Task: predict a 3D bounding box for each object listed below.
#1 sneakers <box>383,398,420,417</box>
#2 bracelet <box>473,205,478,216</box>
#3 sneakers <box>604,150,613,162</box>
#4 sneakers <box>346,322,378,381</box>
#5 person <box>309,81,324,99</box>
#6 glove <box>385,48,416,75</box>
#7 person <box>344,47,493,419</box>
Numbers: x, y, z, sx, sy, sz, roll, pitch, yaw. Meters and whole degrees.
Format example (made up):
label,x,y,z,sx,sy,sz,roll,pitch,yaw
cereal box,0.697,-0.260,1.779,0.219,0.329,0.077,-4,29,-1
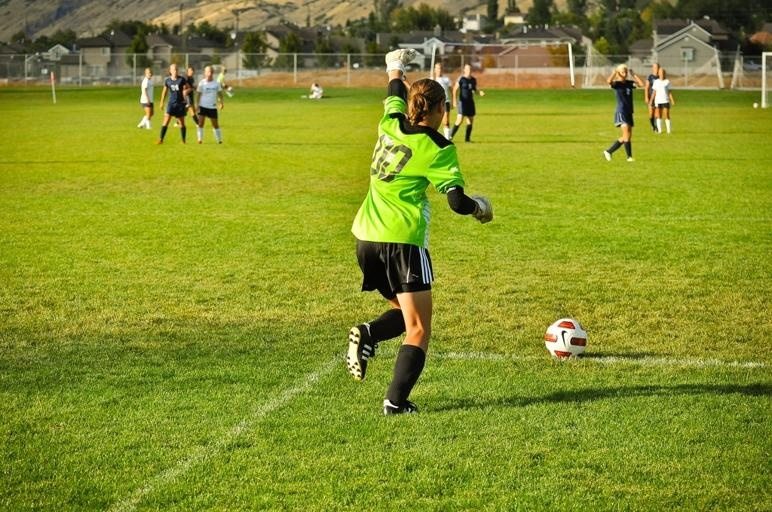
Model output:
label,x,y,z,sx,sy,sz,roll,pitch,yaw
sneakers,0.139,1.330,7.924,0.290,0.123,0.134,-3,7,-15
bracelet,0.772,-0.377,7.662,0.042,0.045,0.048,0,15,3
sneakers,5.011,-2.239,20.039,0.155,0.130,0.349,-17,-38,13
sneakers,-0.213,0.818,8.010,0.269,0.553,0.209,6,2,5
person,-3.889,-9.144,49.579,0.701,0.906,2.003,-2,9,-6
glove,0.134,-1.853,8.517,0.260,0.124,0.302,-7,13,3
person,0.237,-0.096,7.908,1.095,2.916,0.830,4,9,30
